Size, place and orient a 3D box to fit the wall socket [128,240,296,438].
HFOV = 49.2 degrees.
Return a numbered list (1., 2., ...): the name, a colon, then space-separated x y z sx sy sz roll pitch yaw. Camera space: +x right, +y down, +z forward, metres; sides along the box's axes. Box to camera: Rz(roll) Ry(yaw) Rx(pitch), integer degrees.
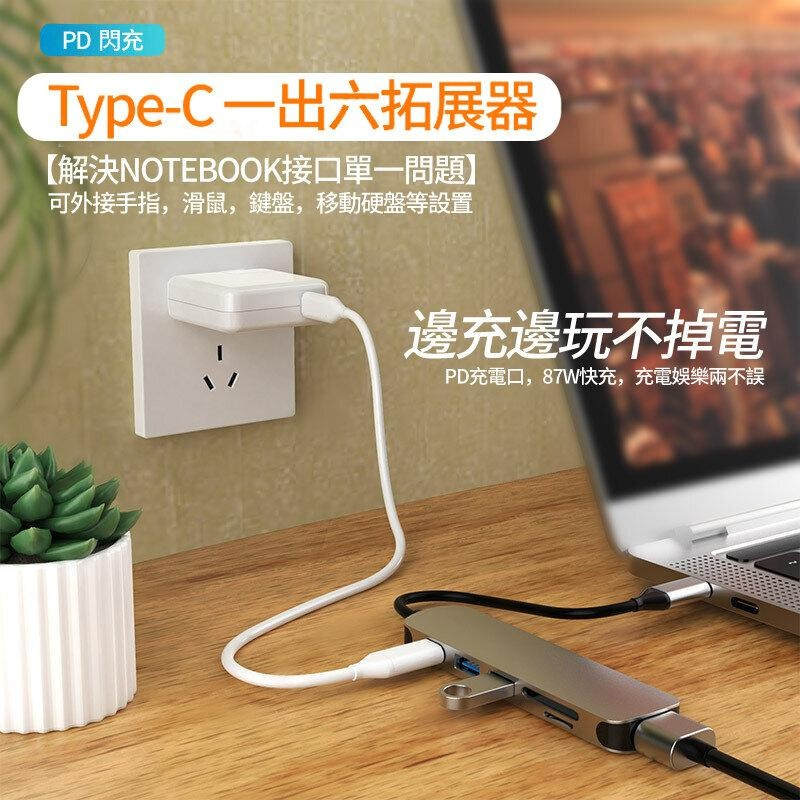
1. wall socket: -0.144 -0.049 0.643 0.169 0.020 0.162 -6 107 -31
